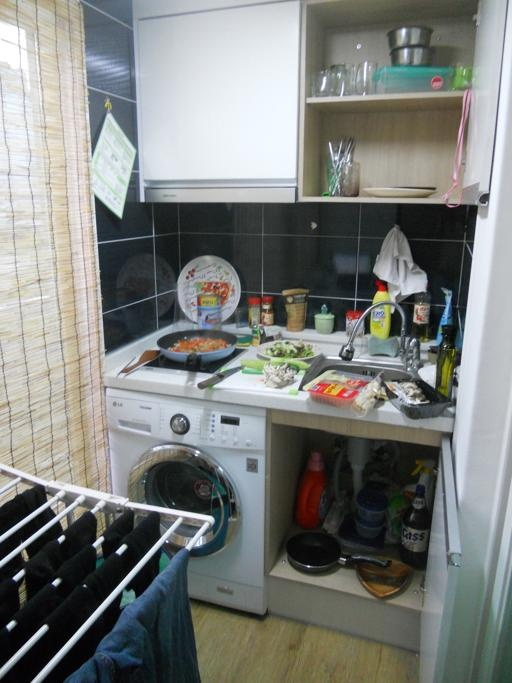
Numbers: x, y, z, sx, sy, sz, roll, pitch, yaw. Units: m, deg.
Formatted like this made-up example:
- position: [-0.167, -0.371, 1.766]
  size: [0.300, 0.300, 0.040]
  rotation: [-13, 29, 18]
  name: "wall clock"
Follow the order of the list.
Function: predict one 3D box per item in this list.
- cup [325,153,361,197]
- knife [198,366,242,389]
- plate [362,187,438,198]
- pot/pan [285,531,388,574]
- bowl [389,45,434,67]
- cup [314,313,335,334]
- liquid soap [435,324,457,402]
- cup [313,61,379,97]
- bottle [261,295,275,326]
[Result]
- position: [0.322, -0.637, 1.893]
  size: [0.133, 0.148, 0.134]
  rotation: [-3, 17, 1]
  name: "cup"
- position: [-0.136, 0.128, 1.824]
  size: [0.045, 0.048, 0.328]
  rotation: [32, 18, 17]
  name: "knife"
- position: [0.537, -0.562, 1.866]
  size: [0.235, 0.054, 0.233]
  rotation: [3, 14, 16]
  name: "plate"
- position: [0.264, 0.797, 1.939]
  size: [0.244, 0.039, 0.140]
  rotation: [4, 7, 24]
  name: "pot/pan"
- position: [0.520, -0.972, 1.687]
  size: [0.097, 0.036, 0.099]
  rotation: [-3, 27, 2]
  name: "bowl"
- position: [0.305, -0.081, 2.241]
  size: [0.087, 0.121, 0.090]
  rotation: [1, 13, 0]
  name: "cup"
- position: [0.586, 0.066, 1.537]
  size: [0.057, 0.227, 0.128]
  rotation: [4, 14, 20]
  name: "liquid soap"
- position: [0.320, -0.925, 1.800]
  size: [0.216, 0.104, 0.123]
  rotation: [16, 25, 41]
  name: "cup"
- position: [0.045, -0.145, 2.331]
  size: [0.054, 0.132, 0.111]
  rotation: [-1, 13, -1]
  name: "bottle"
